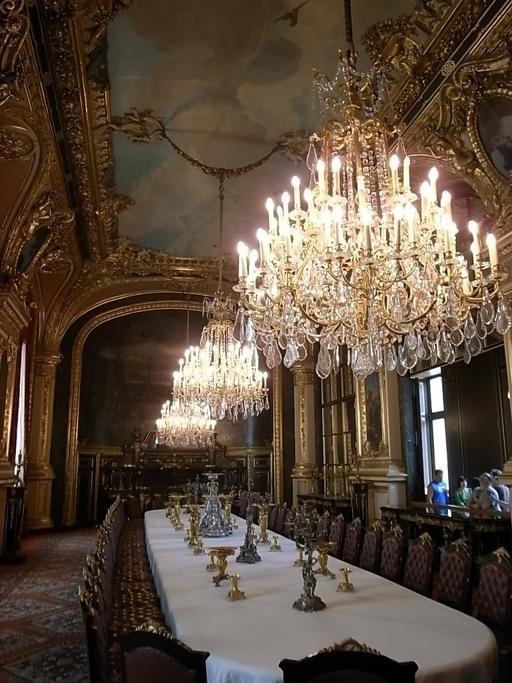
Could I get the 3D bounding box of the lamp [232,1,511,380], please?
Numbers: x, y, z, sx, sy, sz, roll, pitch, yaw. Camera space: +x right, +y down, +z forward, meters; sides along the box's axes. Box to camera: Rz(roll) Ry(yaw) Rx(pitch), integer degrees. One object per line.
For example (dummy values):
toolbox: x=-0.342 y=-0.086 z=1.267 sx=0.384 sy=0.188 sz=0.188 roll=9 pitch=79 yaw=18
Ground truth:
lamp: x=0.698 y=-1.270 z=4.181 sx=1.672 sy=3.185 sz=2.467 roll=0 pitch=-11 yaw=0
